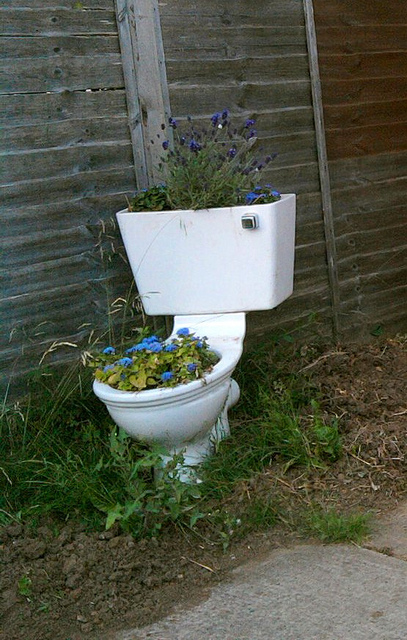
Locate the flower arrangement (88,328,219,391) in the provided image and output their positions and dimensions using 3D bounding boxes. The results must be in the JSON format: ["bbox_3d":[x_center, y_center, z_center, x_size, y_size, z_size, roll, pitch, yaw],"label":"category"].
[{"bbox_3d":[-0.143,0.135,1.844,0.426,0.136,0.377,-10,10,-12],"label":"flower arrangement"}]

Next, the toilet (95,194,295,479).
[{"bbox_3d":[-0.027,0.055,2.036,0.555,0.917,0.934,-3,12,30],"label":"toilet"}]
